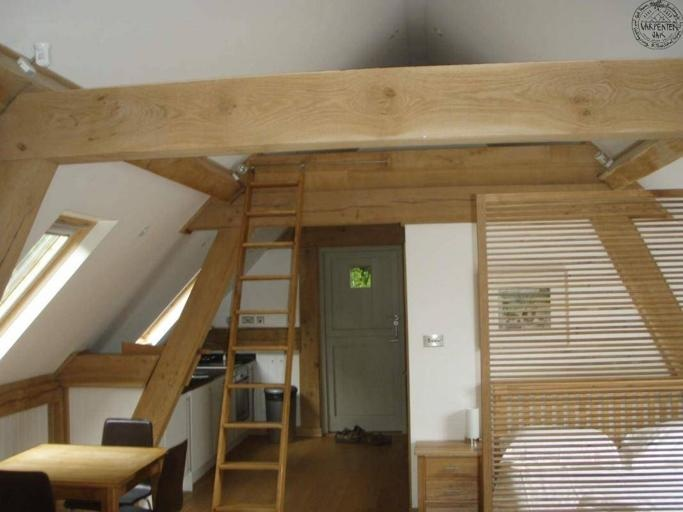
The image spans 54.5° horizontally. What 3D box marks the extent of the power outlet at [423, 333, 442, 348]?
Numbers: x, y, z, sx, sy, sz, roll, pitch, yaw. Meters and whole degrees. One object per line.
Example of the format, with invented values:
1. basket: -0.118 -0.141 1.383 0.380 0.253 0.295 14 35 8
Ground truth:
1. power outlet: 0.797 0.724 5.726 0.171 0.112 0.033 1 -18 6

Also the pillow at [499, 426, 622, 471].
1. pillow: 1.725 1.510 5.239 0.888 0.323 0.503 -4 -19 20

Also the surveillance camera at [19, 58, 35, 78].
1. surveillance camera: -1.718 -1.045 3.630 0.019 0.053 0.079 -39 -7 -11

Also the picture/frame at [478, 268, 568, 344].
1. picture/frame: 1.566 0.373 5.524 0.672 0.707 0.623 -2 -18 14
